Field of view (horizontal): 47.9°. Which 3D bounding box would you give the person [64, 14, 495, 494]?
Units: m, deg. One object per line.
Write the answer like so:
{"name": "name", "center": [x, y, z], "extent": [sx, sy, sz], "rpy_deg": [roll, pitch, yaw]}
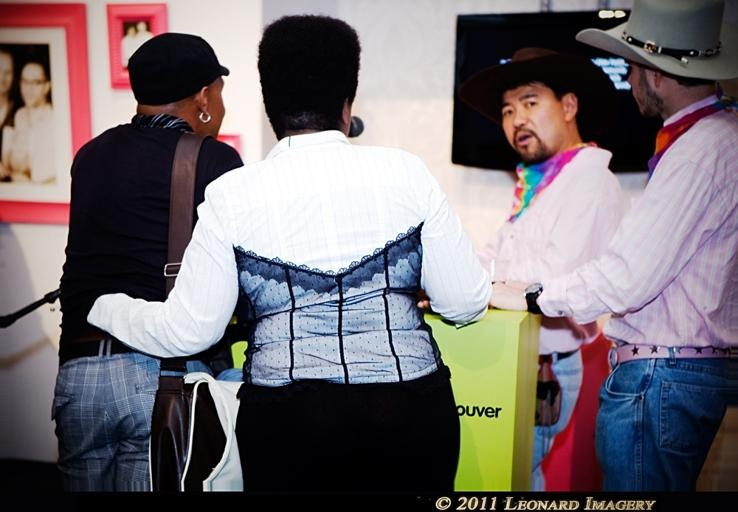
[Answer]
{"name": "person", "center": [-0.196, -0.014, 3.174], "extent": [1.277, 1.786, 0.335], "rpy_deg": [1, 3, 9]}

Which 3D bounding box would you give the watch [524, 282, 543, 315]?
{"name": "watch", "center": [0.694, 0.182, 3.571], "extent": [0.079, 0.112, 0.089], "rpy_deg": [4, -6, -3]}

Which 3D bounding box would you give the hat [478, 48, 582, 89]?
{"name": "hat", "center": [0.826, -0.960, 4.243], "extent": [0.265, 0.084, 0.299], "rpy_deg": [-4, -9, -6]}

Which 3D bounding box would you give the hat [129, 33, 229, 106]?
{"name": "hat", "center": [-0.785, -0.797, 3.494], "extent": [0.255, 0.192, 0.355], "rpy_deg": [20, 39, 35]}
